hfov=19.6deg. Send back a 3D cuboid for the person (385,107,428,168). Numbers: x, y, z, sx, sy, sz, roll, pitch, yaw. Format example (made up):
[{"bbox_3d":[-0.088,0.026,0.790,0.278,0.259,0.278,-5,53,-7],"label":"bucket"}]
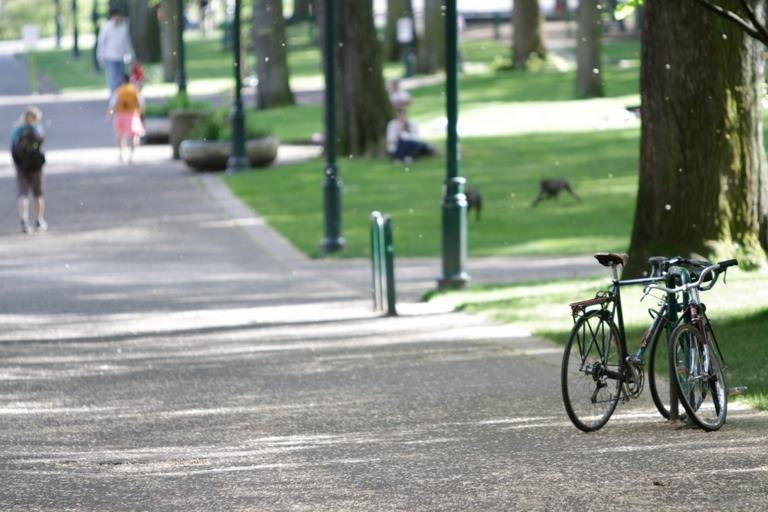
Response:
[{"bbox_3d":[0.484,-2.847,50.036,1.145,1.190,1.028,-14,19,7],"label":"person"}]

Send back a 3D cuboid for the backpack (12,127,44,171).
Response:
[{"bbox_3d":[-6.510,-2.004,41.127,0.605,0.717,0.353,5,9,-5],"label":"backpack"}]
